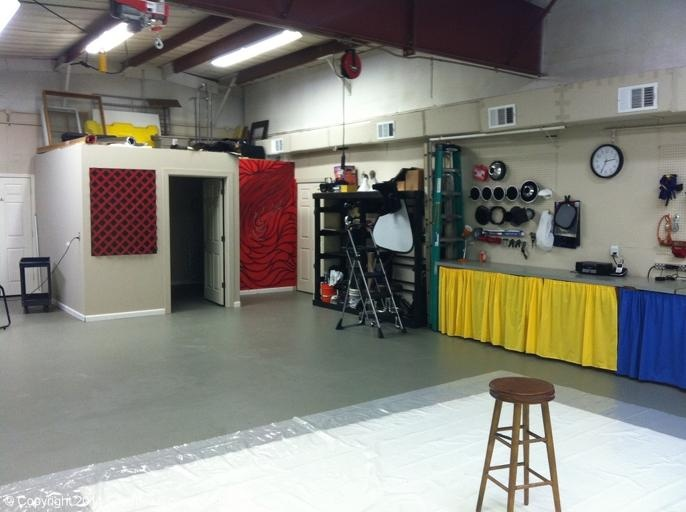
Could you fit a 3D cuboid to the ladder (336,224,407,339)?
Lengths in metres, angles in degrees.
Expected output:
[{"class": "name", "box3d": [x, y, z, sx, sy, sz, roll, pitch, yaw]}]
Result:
[{"class": "ladder", "box3d": [0.451, 0.227, 8.048, 1.073, 1.783, 1.992, -1, 8, -3]}]

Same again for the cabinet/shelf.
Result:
[{"class": "cabinet/shelf", "box3d": [0.513, 0.104, 8.286, 0.775, 2.042, 2.365, -1, 2, -30]}]

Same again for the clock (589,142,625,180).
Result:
[{"class": "clock", "box3d": [3.361, -1.209, 6.068, 0.084, 0.451, 0.393, -7, 11, -38]}]

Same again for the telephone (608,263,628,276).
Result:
[{"class": "telephone", "box3d": [3.467, 0.170, 5.969, 0.140, 0.065, 0.199, 2, 28, 35]}]
